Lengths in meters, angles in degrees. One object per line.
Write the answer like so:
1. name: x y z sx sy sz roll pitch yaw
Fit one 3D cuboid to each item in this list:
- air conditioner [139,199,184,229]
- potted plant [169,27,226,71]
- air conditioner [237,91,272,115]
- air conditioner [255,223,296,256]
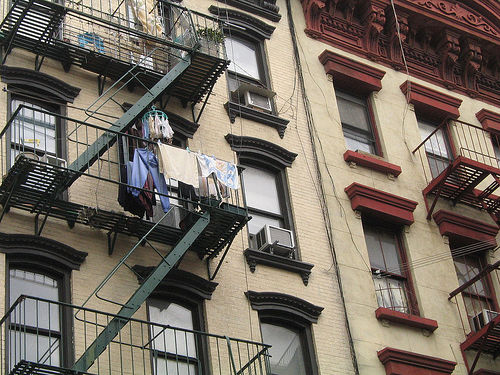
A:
1. air conditioner: -2.241 0.730 33.221 0.981 0.661 0.660 5 -9 -27
2. potted plant: -1.440 -3.884 35.410 1.190 1.124 1.341 3 6 39
3. air conditioner: 0.184 -2.521 36.850 1.027 0.771 0.463 14 -45 -13
4. air conditioner: 0.709 1.520 34.433 0.930 0.744 0.843 13 -39 -30
